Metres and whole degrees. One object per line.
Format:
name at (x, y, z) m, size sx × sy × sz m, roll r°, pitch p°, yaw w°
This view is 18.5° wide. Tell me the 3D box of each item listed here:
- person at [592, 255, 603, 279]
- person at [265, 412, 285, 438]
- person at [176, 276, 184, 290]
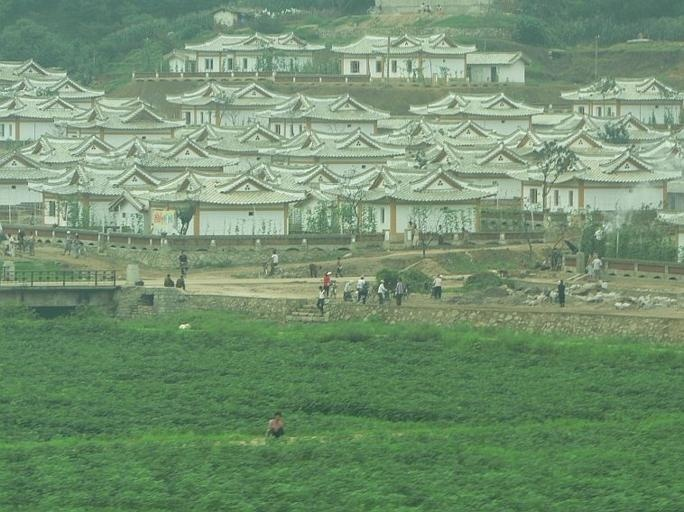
person at (17.587, 0.819, 144.349) m, size 0.688 × 1.614 × 2.357 m, roll 1°, pitch -3°, yaw 7°
person at (-3.957, 10.244, 128.009) m, size 1.100 × 1.548 × 1.644 m, roll 1°, pitch -3°, yaw -2°
person at (-11.007, 1.917, 144.640) m, size 0.559 × 0.766 × 0.888 m, roll 1°, pitch -3°, yaw -5°
